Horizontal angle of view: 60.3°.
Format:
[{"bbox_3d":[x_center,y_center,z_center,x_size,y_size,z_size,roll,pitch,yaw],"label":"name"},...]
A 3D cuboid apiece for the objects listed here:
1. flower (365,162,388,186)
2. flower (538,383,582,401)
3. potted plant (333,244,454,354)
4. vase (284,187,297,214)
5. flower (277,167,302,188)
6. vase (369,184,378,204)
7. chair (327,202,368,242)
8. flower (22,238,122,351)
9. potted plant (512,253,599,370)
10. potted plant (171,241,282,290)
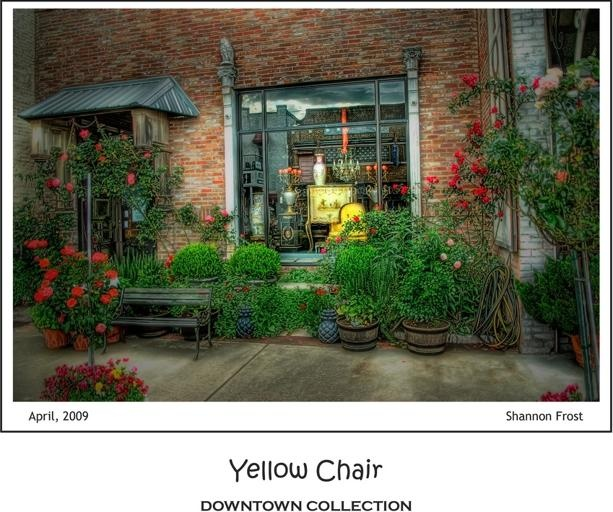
[{"bbox_3d":[1.224,-1.421,9.111,0.347,0.370,0.106,7,12,36],"label":"flower"},{"bbox_3d":[2.165,1.166,4.485,0.326,0.145,0.178,-1,10,3],"label":"flower"},{"bbox_3d":[1.171,0.472,6.690,1.261,0.743,1.291,-1,15,42],"label":"potted plant"},{"bbox_3d":[-0.297,-1.030,9.670,0.247,0.410,0.110,-3,9,-13],"label":"vase"},{"bbox_3d":[-0.311,-1.442,9.674,0.344,0.369,0.364,-1,0,-9],"label":"flower"},{"bbox_3d":[1.179,-1.058,9.185,0.064,0.300,0.182,-7,11,-34],"label":"vase"},{"bbox_3d":[0.708,-0.601,9.168,0.630,0.583,0.970,-1,10,3],"label":"chair"},{"bbox_3d":[-2.836,0.534,6.609,1.775,1.413,0.922,8,13,44],"label":"flower"},{"bbox_3d":[2.743,0.469,5.896,0.399,0.924,0.705,-3,9,-10],"label":"potted plant"},{"bbox_3d":[-1.216,0.163,7.983,1.071,0.502,0.796,-1,-1,-4],"label":"potted plant"}]
